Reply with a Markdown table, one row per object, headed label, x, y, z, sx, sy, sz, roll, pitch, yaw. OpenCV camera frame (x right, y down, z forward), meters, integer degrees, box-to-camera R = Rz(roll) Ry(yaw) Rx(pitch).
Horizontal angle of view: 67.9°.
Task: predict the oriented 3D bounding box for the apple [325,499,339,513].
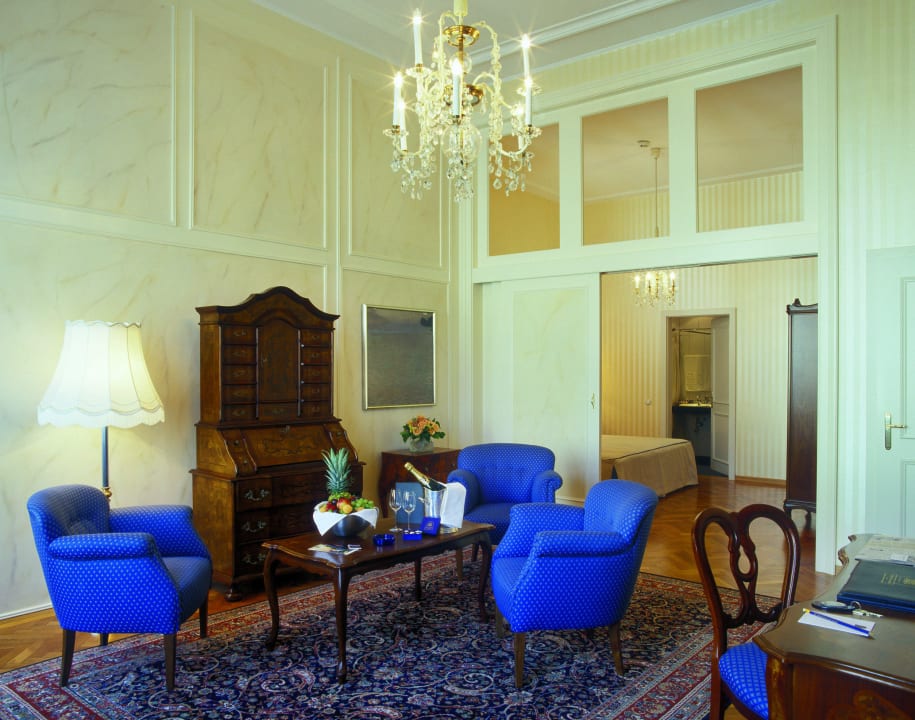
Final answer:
| label | x | y | z | sx | sy | sz | roll | pitch | yaw |
| --- | --- | --- | --- | --- | --- | --- | --- | --- | --- |
| apple | -0.836 | 0.967 | 4.506 | 0.066 | 0.062 | 0.065 | 5 | -6 | -29 |

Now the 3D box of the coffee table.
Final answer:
| label | x | y | z | sx | sy | sz | roll | pitch | yaw |
| --- | --- | --- | --- | --- | --- | --- | --- | --- | --- |
| coffee table | -0.699 | 1.686 | 4.397 | 0.784 | 0.604 | 1.207 | -3 | -3 | 37 |

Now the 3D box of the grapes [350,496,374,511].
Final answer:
| label | x | y | z | sx | sy | sz | roll | pitch | yaw |
| --- | --- | --- | --- | --- | --- | --- | --- | --- | --- |
| grapes | -0.653 | 0.968 | 4.568 | 0.092 | 0.070 | 0.091 | -2 | -5 | 35 |

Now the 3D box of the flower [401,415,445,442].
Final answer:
| label | x | y | z | sx | sy | sz | roll | pitch | yaw |
| --- | --- | --- | --- | --- | --- | --- | --- | --- | --- |
| flower | -0.400 | 0.657 | 6.859 | 0.305 | 0.153 | 0.314 | -3 | -4 | 41 |

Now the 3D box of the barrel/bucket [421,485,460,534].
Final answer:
| label | x | y | z | sx | sy | sz | roll | pitch | yaw |
| --- | --- | --- | --- | --- | --- | --- | --- | --- | --- |
| barrel/bucket | -0.107 | 1.029 | 4.690 | 0.287 | 0.294 | 0.242 | -1 | -3 | 39 |

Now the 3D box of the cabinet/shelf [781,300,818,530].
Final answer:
| label | x | y | z | sx | sy | sz | roll | pitch | yaw |
| --- | --- | --- | --- | --- | --- | --- | --- | --- | --- |
| cabinet/shelf | 3.542 | 0.494 | 7.015 | 0.302 | 2.198 | 0.304 | 1 | 3 | 34 |

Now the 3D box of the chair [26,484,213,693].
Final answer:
| label | x | y | z | sx | sy | sz | roll | pitch | yaw |
| --- | --- | --- | --- | --- | --- | --- | --- | --- | --- |
| chair | -1.996 | 1.327 | 4.422 | 1.111 | 1.300 | 1.059 | 1 | 2 | -4 |

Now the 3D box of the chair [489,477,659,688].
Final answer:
| label | x | y | z | sx | sy | sz | roll | pitch | yaw |
| --- | --- | --- | --- | --- | --- | --- | --- | --- | --- |
| chair | 0.686 | 1.340 | 4.414 | 1.072 | 1.176 | 0.997 | 0 | -2 | -6 |

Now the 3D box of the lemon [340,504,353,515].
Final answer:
| label | x | y | z | sx | sy | sz | roll | pitch | yaw |
| --- | --- | --- | --- | --- | --- | --- | --- | --- | --- |
| lemon | -0.729 | 0.979 | 4.470 | 0.057 | 0.060 | 0.058 | 1 | 12 | -9 |

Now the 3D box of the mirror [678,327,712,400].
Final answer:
| label | x | y | z | sx | sy | sz | roll | pitch | yaw |
| --- | --- | --- | --- | --- | --- | --- | --- | --- | --- |
| mirror | 4.312 | 0.076 | 12.318 | 0.544 | 1.260 | 0.258 | 0 | 2 | 6 |

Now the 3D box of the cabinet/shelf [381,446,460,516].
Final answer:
| label | x | y | z | sx | sy | sz | roll | pitch | yaw |
| --- | --- | --- | --- | --- | --- | --- | --- | --- | --- |
| cabinet/shelf | -0.371 | 1.210 | 7.041 | 0.603 | 0.845 | 0.872 | -2 | -3 | 34 |
